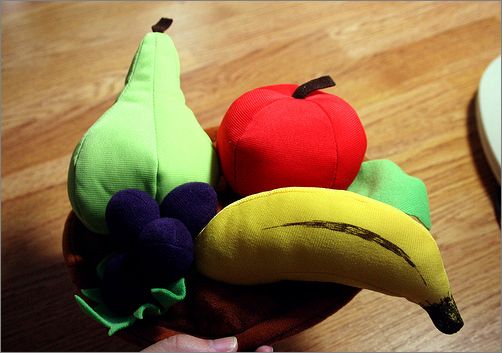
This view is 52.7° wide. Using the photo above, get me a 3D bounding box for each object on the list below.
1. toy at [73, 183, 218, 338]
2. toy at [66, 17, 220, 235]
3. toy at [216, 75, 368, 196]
[{"bbox_3d":[-0.195,0.154,1.049,0.238,0.114,0.281,31,93,2],"label":"toy"},{"bbox_3d":[-0.222,-0.106,1.110,0.275,0.194,0.400,0,61,0],"label":"toy"},{"bbox_3d":[0.101,-0.058,1.122,0.289,0.281,0.171,1,87,42],"label":"toy"}]
